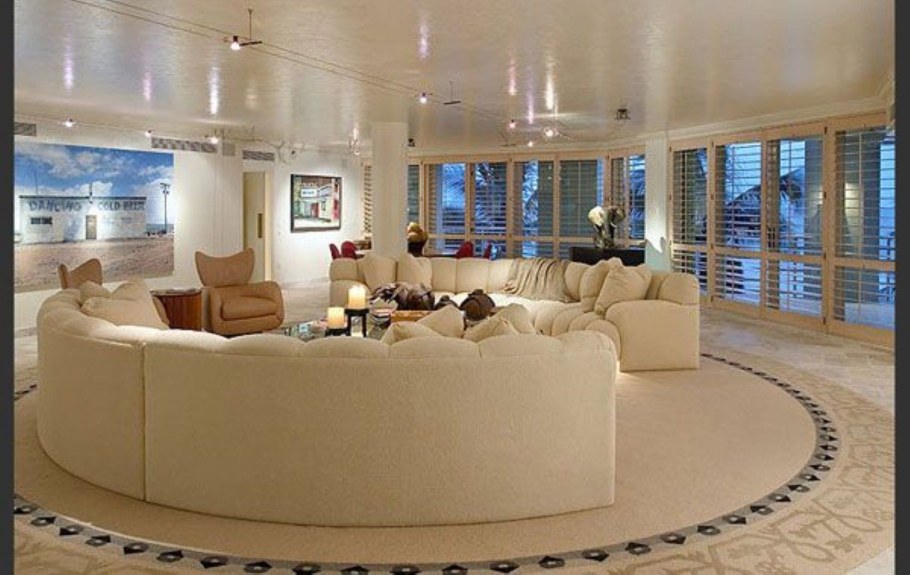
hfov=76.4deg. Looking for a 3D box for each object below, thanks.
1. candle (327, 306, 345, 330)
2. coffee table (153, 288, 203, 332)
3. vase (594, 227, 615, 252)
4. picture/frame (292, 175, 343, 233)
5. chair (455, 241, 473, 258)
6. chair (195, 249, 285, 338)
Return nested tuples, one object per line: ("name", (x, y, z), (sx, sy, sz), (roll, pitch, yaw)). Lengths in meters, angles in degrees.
("candle", (-1.013, 0.262, 5.063), (0.192, 0.203, 0.186), (-1, 6, -18))
("coffee table", (-3.153, 0.265, 6.775), (0.469, 0.480, 0.462), (-8, 19, -29))
("vase", (2.553, -0.802, 9.844), (0.386, 0.402, 0.403), (-3, -5, 23))
("picture/frame", (-3.020, -1.875, 12.754), (0.075, 1.216, 1.744), (9, 12, 21))
("chair", (0.183, -0.733, 11.135), (0.342, 0.458, 0.396), (3, 10, -8))
("chair", (-2.694, 0.078, 7.262), (0.947, 1.098, 1.023), (-3, 9, -26))
